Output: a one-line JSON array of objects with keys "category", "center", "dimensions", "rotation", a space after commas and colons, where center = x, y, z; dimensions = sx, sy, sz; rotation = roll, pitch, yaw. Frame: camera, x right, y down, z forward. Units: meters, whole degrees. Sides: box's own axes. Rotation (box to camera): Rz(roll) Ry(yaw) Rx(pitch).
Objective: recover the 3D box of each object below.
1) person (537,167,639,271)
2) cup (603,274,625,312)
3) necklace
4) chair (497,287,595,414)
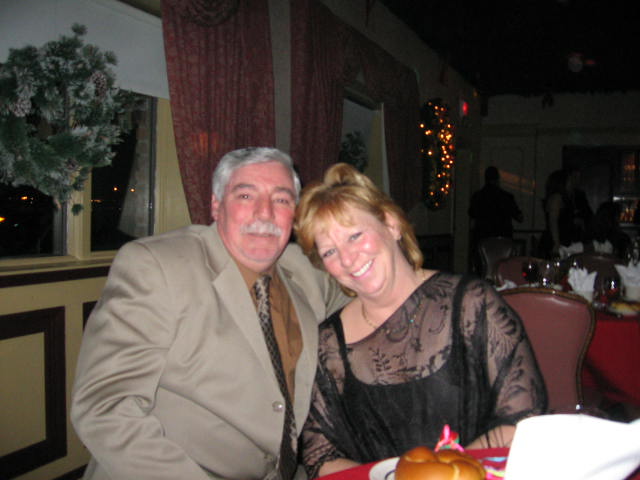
[{"category": "person", "center": [3.519, -0.350, 6.783], "dimensions": [0.878, 1.286, 2.821], "rotation": [3, 1, 20]}, {"category": "cup", "center": [2.160, 0.391, 3.768], "dimensions": [0.120, 0.211, 0.201], "rotation": [3, 2, 29]}, {"category": "necklace", "center": [0.413, 0.327, 2.815], "dimensions": [0.091, 0.365, 0.267], "rotation": [45, 15, 18]}, {"category": "chair", "center": [1.452, 0.623, 3.409], "dimensions": [0.623, 1.162, 0.659], "rotation": [2, 3, 28]}]
